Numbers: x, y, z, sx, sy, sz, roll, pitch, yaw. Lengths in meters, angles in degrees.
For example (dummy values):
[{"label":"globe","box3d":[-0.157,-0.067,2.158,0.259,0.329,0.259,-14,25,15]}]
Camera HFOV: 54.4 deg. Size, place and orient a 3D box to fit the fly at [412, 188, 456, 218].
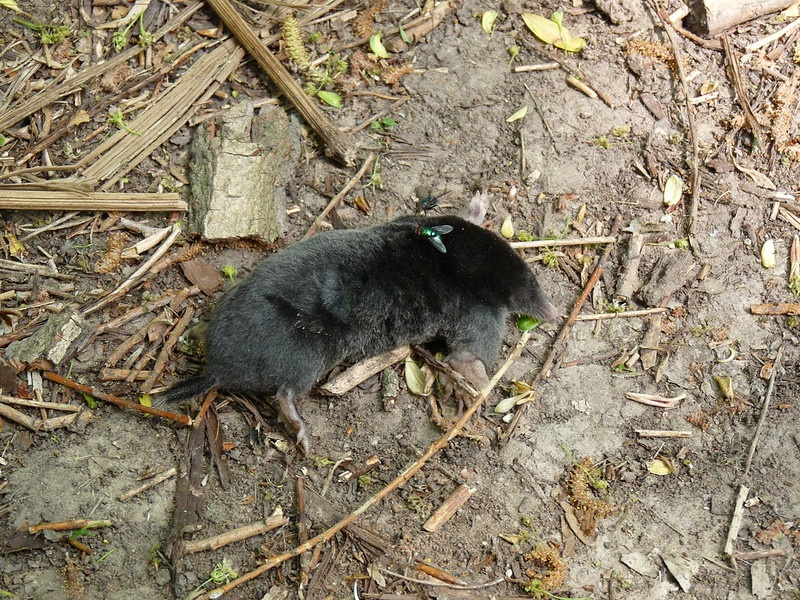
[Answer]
[{"label":"fly","box3d":[0.254,-0.867,6.821,0.259,0.249,0.129,23,-9,4]}]
